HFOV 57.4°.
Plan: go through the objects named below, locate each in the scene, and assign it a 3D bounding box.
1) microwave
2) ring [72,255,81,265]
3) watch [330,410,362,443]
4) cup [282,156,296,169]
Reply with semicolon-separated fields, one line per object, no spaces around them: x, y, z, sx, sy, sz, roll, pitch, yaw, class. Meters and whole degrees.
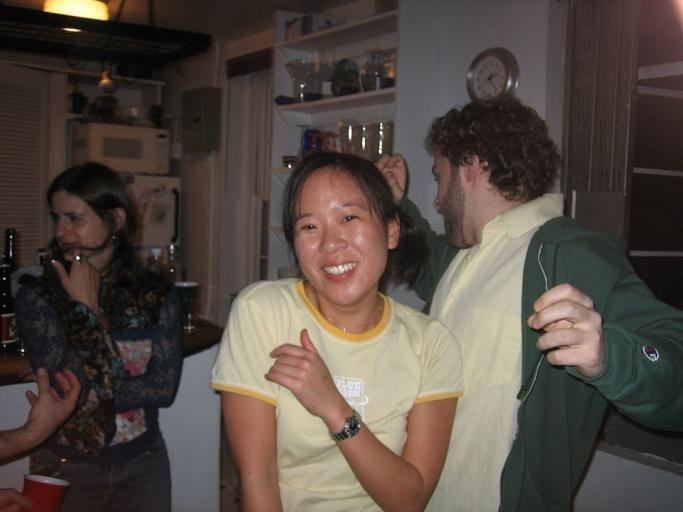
-2.010;-1.043;5.909;0.694;0.448;0.376;-1;24;-25;microwave
-1.023;0.015;2.416;0.029;0.031;0.029;1;-15;0;ring
0.014;0.517;1.878;0.057;0.085;0.078;37;26;-21;watch
-0.380;-0.675;4.488;0.093;0.072;0.093;2;8;0;cup
